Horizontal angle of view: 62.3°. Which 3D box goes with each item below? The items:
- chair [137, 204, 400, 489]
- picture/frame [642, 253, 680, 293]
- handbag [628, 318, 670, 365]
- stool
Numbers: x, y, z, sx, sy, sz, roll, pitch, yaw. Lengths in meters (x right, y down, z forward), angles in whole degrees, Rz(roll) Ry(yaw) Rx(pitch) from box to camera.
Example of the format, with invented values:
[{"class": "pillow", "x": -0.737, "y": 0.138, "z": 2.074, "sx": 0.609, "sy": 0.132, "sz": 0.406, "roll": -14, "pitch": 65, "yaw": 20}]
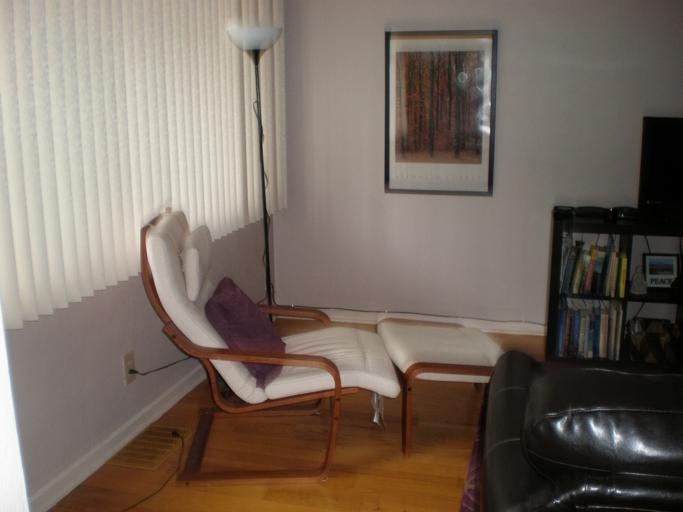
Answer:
[{"class": "chair", "x": -0.334, "y": 0.404, "z": 3.038, "sx": 1.153, "sy": 1.310, "sz": 0.849, "roll": -2, "pitch": 14, "yaw": -2}, {"class": "picture/frame", "x": 2.172, "y": 0.123, "z": 3.839, "sx": 0.221, "sy": 0.310, "sz": 0.019, "roll": 1, "pitch": -12, "yaw": 6}, {"class": "handbag", "x": 2.082, "y": 0.566, "z": 3.800, "sx": 0.255, "sy": 0.298, "sz": 0.092, "roll": 1, "pitch": -4, "yaw": 15}, {"class": "stool", "x": 0.566, "y": 0.703, "z": 3.264, "sx": 0.589, "sy": 0.480, "sz": 0.931, "roll": 4, "pitch": 6, "yaw": -4}]
